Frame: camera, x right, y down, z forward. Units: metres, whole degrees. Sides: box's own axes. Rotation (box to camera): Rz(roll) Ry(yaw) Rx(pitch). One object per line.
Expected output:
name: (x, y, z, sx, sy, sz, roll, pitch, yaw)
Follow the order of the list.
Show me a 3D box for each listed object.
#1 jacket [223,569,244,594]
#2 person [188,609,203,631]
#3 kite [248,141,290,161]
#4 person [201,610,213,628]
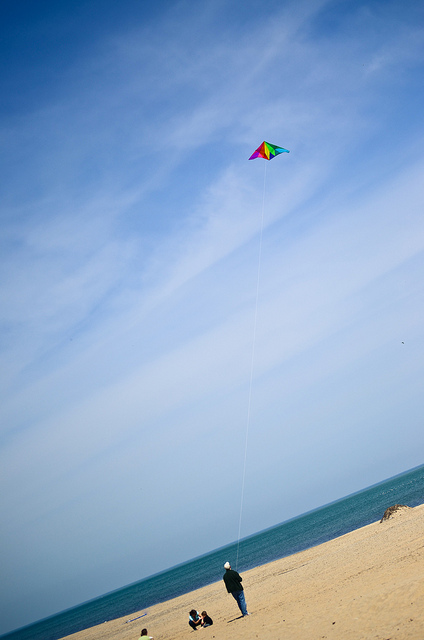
jacket: (0.796, 10.370, 37.179, 0.671, 0.859, 0.802, -17, -28, 16)
person: (-0.705, 12.883, 39.886, 0.575, 0.979, 0.908, -6, -27, -6)
kite: (2.588, -7.956, 44.206, 0.905, 0.502, 1.175, 13, -34, -37)
person: (-0.224, 12.739, 39.589, 0.438, 0.817, 0.963, -8, -27, -2)
